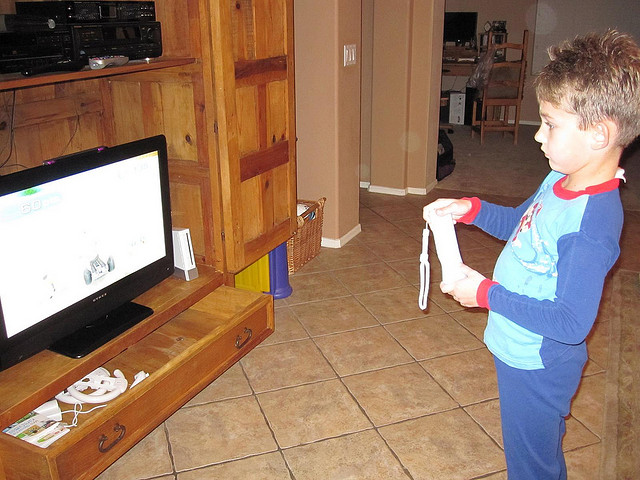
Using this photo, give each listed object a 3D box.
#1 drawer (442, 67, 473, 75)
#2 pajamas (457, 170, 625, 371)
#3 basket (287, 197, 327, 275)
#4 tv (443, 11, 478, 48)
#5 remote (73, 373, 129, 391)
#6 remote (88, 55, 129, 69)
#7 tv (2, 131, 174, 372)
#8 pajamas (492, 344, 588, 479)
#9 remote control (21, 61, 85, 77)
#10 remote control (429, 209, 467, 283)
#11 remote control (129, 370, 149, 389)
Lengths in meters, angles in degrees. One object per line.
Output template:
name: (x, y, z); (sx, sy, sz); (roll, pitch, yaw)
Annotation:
drawer: (2.200, -2.691, 7.908); (0.466, 0.114, 0.384); (10, 25, 22)
pajamas: (0.635, 0.086, 1.494); (0.371, 0.585, 0.539); (-4, 23, -8)
basket: (-0.090, -0.028, 3.643); (0.245, 0.565, 0.277); (11, 22, 16)
tv: (2.412, -3.623, 8.461); (0.573, 0.527, 0.055); (-2, 9, -2)
remote: (-0.818, 0.537, 1.866); (0.137, 0.020, 0.098); (6, 10, 2)
remote: (-0.791, -0.670, 1.846); (0.039, 0.052, 0.195); (19, 30, 28)
tv: (-0.881, 0.064, 1.865); (0.116, 0.607, 0.833); (9, 25, 18)
pajamas: (0.670, 0.544, 1.649); (0.257, 0.449, 0.273); (9, 20, 14)
remote control: (-0.908, -0.584, 1.681); (0.268, 0.049, 0.050); (-21, 21, -33)
remote control: (0.417, 0.025, 1.613); (0.080, 0.186, 0.158); (5, 19, 11)
remote control: (-0.683, 0.526, 1.863); (0.056, 0.019, 0.041); (-35, 18, -13)
